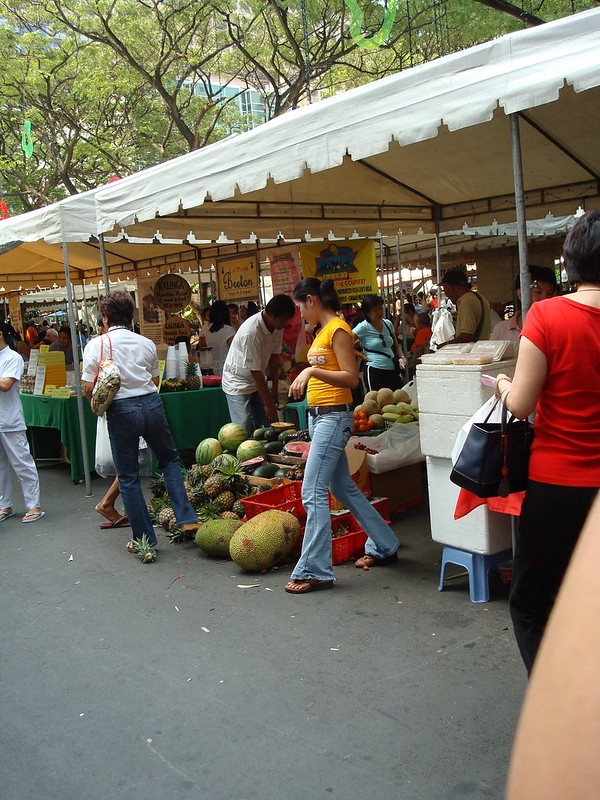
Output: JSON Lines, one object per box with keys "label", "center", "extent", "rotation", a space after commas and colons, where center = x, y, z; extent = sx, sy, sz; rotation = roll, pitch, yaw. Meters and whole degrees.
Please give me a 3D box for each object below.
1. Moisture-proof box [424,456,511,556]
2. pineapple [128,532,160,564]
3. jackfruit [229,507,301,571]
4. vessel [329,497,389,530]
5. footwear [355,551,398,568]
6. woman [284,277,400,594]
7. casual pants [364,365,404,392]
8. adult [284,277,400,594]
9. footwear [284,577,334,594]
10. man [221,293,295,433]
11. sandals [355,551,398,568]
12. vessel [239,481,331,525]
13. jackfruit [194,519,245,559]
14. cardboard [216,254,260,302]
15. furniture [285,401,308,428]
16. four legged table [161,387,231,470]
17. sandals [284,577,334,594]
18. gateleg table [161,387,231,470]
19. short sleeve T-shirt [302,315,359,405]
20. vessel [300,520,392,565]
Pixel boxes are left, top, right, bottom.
{"label": "Moisture-proof box", "center": [0.981, 0.601, 3.772], "extent": [0.544, 0.718, 0.568], "rotation": [0, 0, -39]}
{"label": "pineapple", "center": [-1.274, 1.218, 4.775], "extent": [0.220, 0.107, 0.208], "rotation": [9, 36, -3]}
{"label": "jackfruit", "center": [-0.290, 0.994, 4.357], "extent": [0.391, 0.332, 0.594], "rotation": [5, 15, 35]}
{"label": "vessel", "center": [0.512, 0.834, 4.745], "extent": [0.352, 0.198, 0.335], "rotation": [-4, 6, -25]}
{"label": "footwear", "center": [0.535, 1.142, 4.275], "extent": [0.316, 0.138, 0.108], "rotation": [1, 1, -9]}
{"label": "woman", "center": [0.214, 0.215, 3.849], "extent": [0.815, 2.023, 0.489], "rotation": [-10, 7, -40]}
{"label": "casual pants", "center": [1.068, -0.296, 7.647], "extent": [0.432, 0.557, 0.233], "rotation": [-1, -3, -36]}
{"label": "adult", "center": [0.220, 0.214, 3.863], "extent": [0.792, 2.023, 0.499], "rotation": [-9, 6, -30]}
{"label": "footwear", "center": [0.057, 1.199, 3.842], "extent": [0.299, 0.113, 0.105], "rotation": [2, -1, -6]}
{"label": "man", "center": [-0.493, -0.502, 6.068], "extent": [0.477, 0.829, 0.657], "rotation": [13, 18, 21]}
{"label": "sandals", "center": [0.538, 1.142, 4.275], "extent": [0.316, 0.138, 0.108], "rotation": [1, 1, -9]}
{"label": "vessel", "center": [-0.167, 0.806, 4.760], "extent": [0.372, 0.196, 0.552], "rotation": [-2, 13, 36]}
{"label": "jackfruit", "center": [-0.652, 1.097, 4.735], "extent": [0.367, 0.267, 0.280], "rotation": [2, -14, 39]}
{"label": "cardboard", "center": [-1.055, -2.134, 10.266], "extent": [1.058, 0.866, 0.111], "rotation": [3, 8, 39]}
{"label": "furniture", "center": [-0.039, 0.144, 6.849], "extent": [0.314, 0.280, 0.311], "rotation": [5, 14, 26]}
{"label": "four legged table", "center": [-1.341, 0.309, 7.321], "extent": [0.865, 0.797, 0.890], "rotation": [-16, 6, -43]}
{"label": "sandals", "center": [0.062, 1.200, 3.841], "extent": [0.299, 0.113, 0.105], "rotation": [2, -1, -6]}
{"label": "gateleg table", "center": [-1.331, 0.307, 7.340], "extent": [0.865, 0.797, 0.890], "rotation": [-16, 6, -43]}
{"label": "short sleeve T-shirt", "center": [0.164, -0.192, 4.092], "extent": [0.474, 0.785, 0.853], "rotation": [0, 4, 3]}
{"label": "vessel", "center": [0.326, 0.990, 4.099], "extent": [0.457, 0.239, 0.732], "rotation": [0, 1, 42]}
